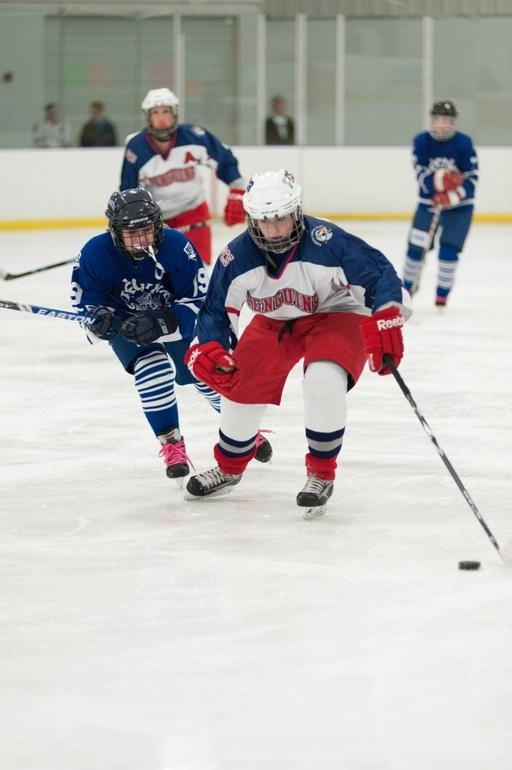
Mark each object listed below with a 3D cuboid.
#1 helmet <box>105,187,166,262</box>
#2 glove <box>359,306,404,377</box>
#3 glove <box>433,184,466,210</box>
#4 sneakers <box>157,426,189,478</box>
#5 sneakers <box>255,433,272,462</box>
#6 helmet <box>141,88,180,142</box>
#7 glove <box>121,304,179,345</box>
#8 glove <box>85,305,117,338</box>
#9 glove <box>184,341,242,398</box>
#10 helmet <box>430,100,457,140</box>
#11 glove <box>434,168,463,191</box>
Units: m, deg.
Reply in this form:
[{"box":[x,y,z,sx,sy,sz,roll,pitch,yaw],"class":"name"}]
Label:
[{"box":[-0.329,-0.454,2.356,0.142,0.176,0.172,-3,10,-8],"class":"helmet"},{"box":[0.308,-0.109,2.082,0.097,0.171,0.111,1,11,15],"class":"glove"},{"box":[1.118,-1.093,4.987,0.156,0.130,0.068,3,21,15],"class":"glove"},{"box":[-0.250,0.205,2.478,0.064,0.086,0.169,-29,41,15],"class":"sneakers"},{"box":[0.018,0.196,2.644,0.045,0.104,0.044,-9,-28,6],"class":"sneakers"},{"box":[-0.476,-1.370,4.369,0.165,0.232,0.306,-3,9,-4],"class":"helmet"},{"box":[-0.284,-0.161,2.398,0.171,0.097,0.064,-10,13,-43],"class":"glove"},{"box":[-0.420,-0.174,2.372,0.054,0.064,0.099,-6,4,-40],"class":"glove"},{"box":[-0.110,-0.038,2.139,0.146,0.098,0.065,38,25,23],"class":"glove"},{"box":[1.089,-1.558,5.040,0.154,0.230,0.196,0,10,10],"class":"helmet"},{"box":[1.103,-1.174,4.949,0.163,0.062,0.118,3,16,8],"class":"glove"}]
